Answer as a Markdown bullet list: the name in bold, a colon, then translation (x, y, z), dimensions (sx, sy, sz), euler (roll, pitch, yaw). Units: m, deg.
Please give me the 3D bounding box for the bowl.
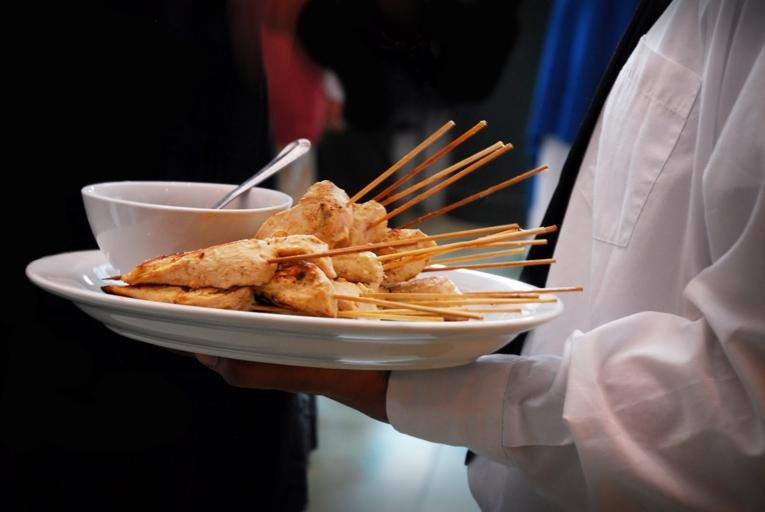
- **bowl**: translation (-0.396, -0.067, 1.342), dimensions (0.262, 0.114, 0.266), euler (6, 5, -1)
